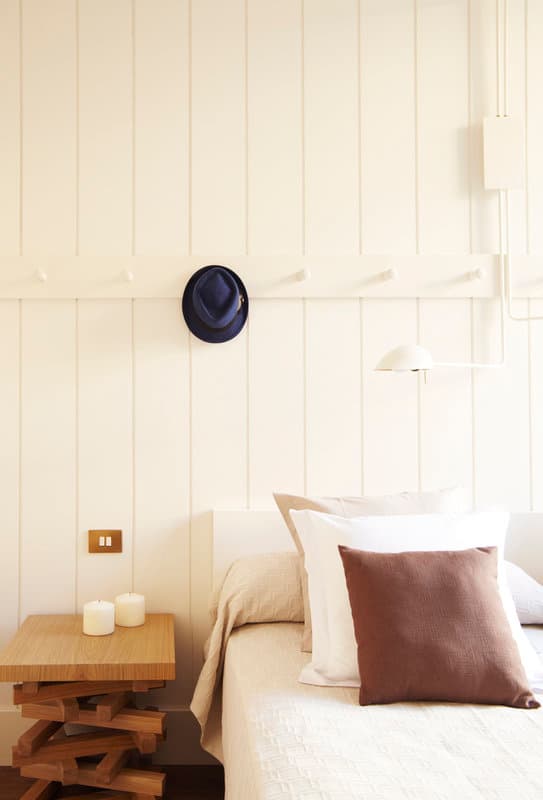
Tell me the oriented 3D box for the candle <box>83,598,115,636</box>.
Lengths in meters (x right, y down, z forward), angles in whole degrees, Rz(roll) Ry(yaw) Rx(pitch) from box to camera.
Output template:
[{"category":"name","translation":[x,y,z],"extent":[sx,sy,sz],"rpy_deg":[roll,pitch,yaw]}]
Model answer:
[{"category":"candle","translation":[-0.490,0.636,2.164],"extent":[0.083,0.095,0.085],"rpy_deg":[0,6,3]}]

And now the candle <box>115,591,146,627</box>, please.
[{"category":"candle","translation":[-0.417,0.626,2.221],"extent":[0.080,0.094,0.082],"rpy_deg":[0,3,-5]}]
